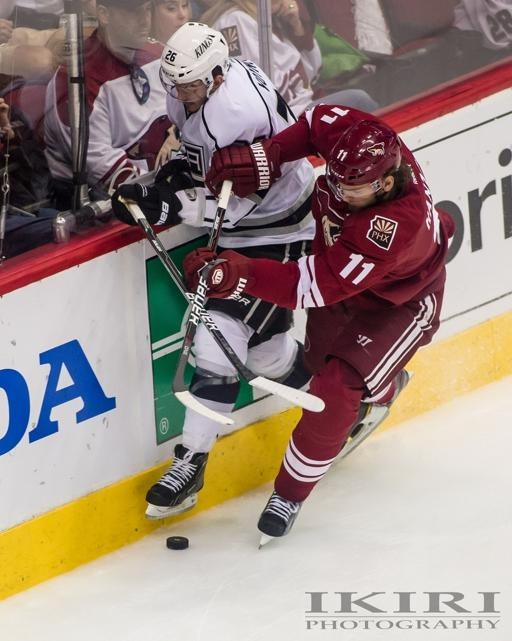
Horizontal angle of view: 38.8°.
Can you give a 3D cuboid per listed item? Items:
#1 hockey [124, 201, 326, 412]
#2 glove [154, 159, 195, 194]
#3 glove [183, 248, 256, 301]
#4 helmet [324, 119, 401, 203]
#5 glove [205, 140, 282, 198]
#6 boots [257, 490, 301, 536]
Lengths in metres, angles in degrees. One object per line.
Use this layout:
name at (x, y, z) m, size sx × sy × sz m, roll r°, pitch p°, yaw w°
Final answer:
hockey at (-0.106, 0.021, 1.795) m, size 0.359 × 0.649 × 0.040 m, roll -22°, pitch 22°, yaw 22°
glove at (-0.210, -0.387, 1.914) m, size 0.104 × 0.039 × 0.101 m, roll 7°, pitch 47°, yaw 7°
glove at (-0.088, -0.113, 1.727) m, size 0.159 × 0.117 × 0.084 m, roll -6°, pitch 16°, yaw 0°
helmet at (0.255, -0.370, 1.659) m, size 0.136 × 0.174 × 0.217 m, roll 9°, pitch 21°, yaw 43°
glove at (-0.025, -0.383, 1.853) m, size 0.203 × 0.108 × 0.080 m, roll -8°, pitch -3°, yaw 5°
boots at (0.070, 0.538, 2.011) m, size 0.072 × 0.109 × 0.115 m, roll 28°, pitch 22°, yaw 10°
